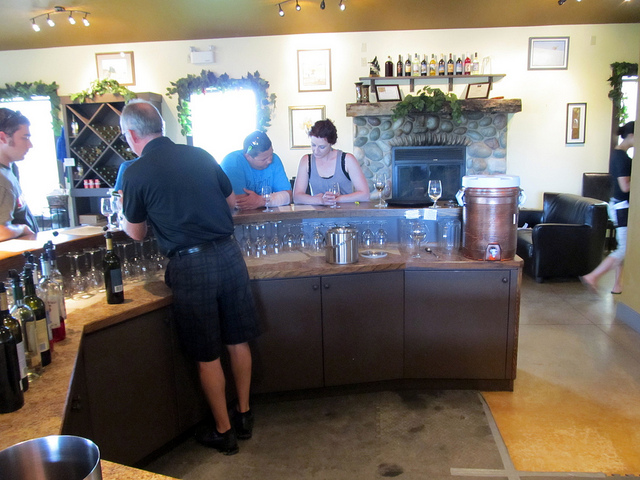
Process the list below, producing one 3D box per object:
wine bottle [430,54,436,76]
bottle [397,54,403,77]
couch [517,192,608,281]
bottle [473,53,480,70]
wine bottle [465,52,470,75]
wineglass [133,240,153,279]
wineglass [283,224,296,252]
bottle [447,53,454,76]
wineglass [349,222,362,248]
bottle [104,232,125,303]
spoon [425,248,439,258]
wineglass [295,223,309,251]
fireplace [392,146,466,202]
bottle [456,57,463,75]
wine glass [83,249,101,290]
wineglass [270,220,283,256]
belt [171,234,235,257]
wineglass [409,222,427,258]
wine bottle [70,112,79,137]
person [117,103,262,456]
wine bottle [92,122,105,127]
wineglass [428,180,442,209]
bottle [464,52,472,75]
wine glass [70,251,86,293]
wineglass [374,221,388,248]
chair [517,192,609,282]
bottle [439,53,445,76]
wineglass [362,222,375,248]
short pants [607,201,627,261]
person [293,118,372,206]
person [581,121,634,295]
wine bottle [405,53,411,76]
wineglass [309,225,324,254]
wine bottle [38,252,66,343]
[{"bbox_3d":[1.605,-2.503,6.814,0.079,0.290,0.165,0,13,12],"label":"wine bottle"},{"bbox_3d":[1.130,-2.476,6.779,0.072,0.322,0.254,-1,13,9],"label":"bottle"},{"bbox_3d":[2.848,-0.016,5.611,0.699,0.707,0.948,-3,17,11],"label":"couch"},{"bbox_3d":[2.226,-2.562,6.833,0.072,0.239,0.212,2,14,21],"label":"bottle"},{"bbox_3d":[2.062,-2.438,6.704,0.062,0.215,0.063,-3,13,1],"label":"wine bottle"},{"bbox_3d":[-1.203,0.124,3.255,0.095,0.220,0.275,-8,14,-20],"label":"wineglass"},{"bbox_3d":[-0.244,-0.019,3.730,0.099,0.182,0.196,-4,13,-5],"label":"wineglass"},{"bbox_3d":[1.855,-2.508,6.799,0.087,0.338,0.279,1,13,15],"label":"bottle"},{"bbox_3d":[0.286,-0.036,3.697,0.092,0.181,0.193,-4,13,-6],"label":"wineglass"},{"bbox_3d":[-1.184,0.157,2.715,0.093,0.418,0.074,-13,17,-38],"label":"bottle"},{"bbox_3d":[0.826,0.091,3.536,0.102,0.025,0.032,37,3,26],"label":"spoon"},{"bbox_3d":[-0.143,-0.029,3.741,0.102,0.186,0.193,-4,13,-3],"label":"wineglass"},{"bbox_3d":[1.610,-1.011,7.085,1.048,0.783,0.316,1,14,15],"label":"fireplace"},{"bbox_3d":[1.970,-2.457,6.768,0.087,0.215,0.130,1,13,15],"label":"bottle"},{"bbox_3d":[-1.432,0.173,3.022,0.078,0.232,0.287,-8,14,-19],"label":"wine glass"},{"bbox_3d":[-0.342,-0.024,3.684,0.098,0.220,0.252,-4,13,-3],"label":"wineglass"},{"bbox_3d":[-0.697,0.039,2.847,0.376,0.098,0.102,-7,13,-20],"label":"belt"},{"bbox_3d":[0.720,-0.017,3.531,0.120,0.236,0.261,0,13,10],"label":"wineglass"},{"bbox_3d":[-3.665,-1.719,7.117,0.138,0.346,0.089,3,14,24],"label":"wine bottle"},{"bbox_3d":[-0.762,0.253,2.923,0.739,2.147,0.474,-6,13,-12],"label":"person"},{"bbox_3d":[-3.321,-1.726,7.124,0.096,0.067,0.236,2,13,20],"label":"wine bottle"},{"bbox_3d":[0.887,-0.372,3.697,0.085,0.210,0.451,0,13,13],"label":"wineglass"},{"bbox_3d":[2.094,-2.459,6.768,0.105,0.226,0.210,1,13,16],"label":"bottle"},{"bbox_3d":[-1.498,0.185,2.957,0.093,0.220,0.251,-9,14,-25],"label":"wine glass"},{"bbox_3d":[0.474,-0.046,3.724,0.092,0.204,0.210,0,13,10],"label":"wineglass"},{"bbox_3d":[2.850,-0.011,5.613,0.725,0.732,0.951,-3,17,9],"label":"chair"},{"bbox_3d":[1.736,-2.522,6.824,0.070,0.324,0.222,0,13,14],"label":"bottle"},{"bbox_3d":[0.365,-0.015,3.629,0.090,0.161,0.127,-1,13,6],"label":"wineglass"},{"bbox_3d":[3.094,-0.105,4.978,0.138,0.549,0.596,4,15,28],"label":"short pants"},{"bbox_3d":[0.102,-0.674,4.447,0.676,0.816,0.529,-4,7,12],"label":"person"},{"bbox_3d":[3.013,-0.277,4.984,0.347,1.843,0.947,5,15,31],"label":"person"},{"bbox_3d":[1.247,-2.465,6.813,0.081,0.210,0.053,0,13,12],"label":"wine bottle"},{"bbox_3d":[-0.034,-0.014,3.678,0.106,0.183,0.255,-3,13,-2],"label":"wineglass"},{"bbox_3d":[-1.303,0.276,2.331,0.087,0.422,0.137,2,15,-4],"label":"wine bottle"}]
